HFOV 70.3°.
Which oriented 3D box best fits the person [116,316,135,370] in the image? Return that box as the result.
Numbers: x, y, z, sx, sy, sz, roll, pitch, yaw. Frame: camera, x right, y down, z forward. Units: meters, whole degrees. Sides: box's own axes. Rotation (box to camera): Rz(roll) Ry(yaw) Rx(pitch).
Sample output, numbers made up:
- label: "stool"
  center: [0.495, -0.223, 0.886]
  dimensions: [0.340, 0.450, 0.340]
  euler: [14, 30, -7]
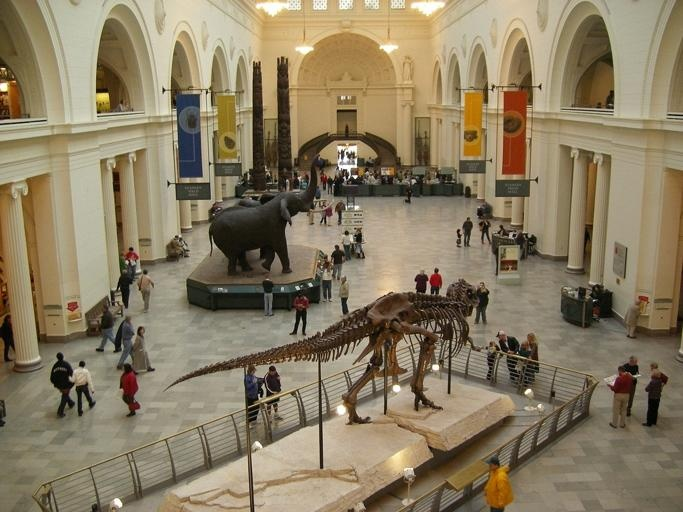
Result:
- label: "person"
  center: [-5.201, 2.055, 11.687]
  dimensions: [0.442, 1.275, 0.422]
  euler: [-7, 13, -42]

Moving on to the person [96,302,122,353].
- label: "person"
  center: [-6.240, 1.955, 13.028]
  dimensions: [0.756, 1.486, 0.476]
  euler: [9, 22, -4]

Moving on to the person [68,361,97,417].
- label: "person"
  center: [-5.285, 2.683, 10.017]
  dimensions: [0.487, 1.144, 0.335]
  euler: [-3, 10, -35]

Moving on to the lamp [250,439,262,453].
- label: "lamp"
  center: [-1.315, 2.948, 7.595]
  dimensions: [0.182, 0.170, 0.190]
  euler: [-7, 14, -26]

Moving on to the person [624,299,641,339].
- label: "person"
  center: [7.901, 1.660, 13.129]
  dimensions: [0.314, 0.997, 0.537]
  euler: [7, 14, 35]

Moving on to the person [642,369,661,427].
- label: "person"
  center: [6.115, 2.692, 9.497]
  dimensions: [0.275, 1.149, 0.678]
  euler: [7, 14, 35]

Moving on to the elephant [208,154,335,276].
- label: "elephant"
  center: [-2.171, -1.381, 17.701]
  dimensions: [4.575, 4.673, 2.269]
  euler: [-6, 17, -7]

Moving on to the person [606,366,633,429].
- label: "person"
  center: [5.332, 2.697, 9.293]
  dimensions: [0.331, 1.216, 0.528]
  euler: [7, 14, 37]

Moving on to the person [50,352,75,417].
- label: "person"
  center: [-5.699, 2.522, 9.965]
  dimensions: [0.383, 1.392, 0.779]
  euler: [-9, 14, -33]
